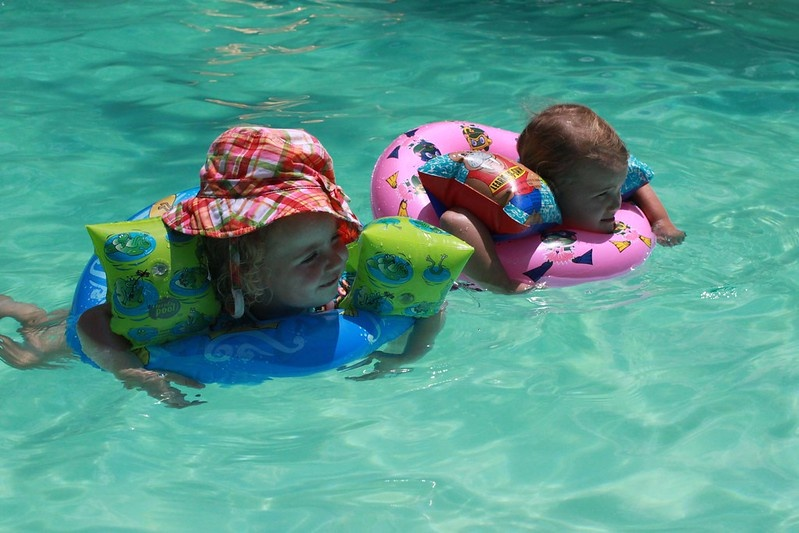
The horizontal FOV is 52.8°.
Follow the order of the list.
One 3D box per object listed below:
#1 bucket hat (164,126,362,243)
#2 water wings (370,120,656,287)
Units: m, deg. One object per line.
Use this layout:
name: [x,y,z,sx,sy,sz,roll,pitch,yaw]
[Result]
bucket hat: [-0.811,-0.446,4.473,1.070,0.602,0.552,-8,39,-10]
water wings: [0.647,-0.400,5.668,1.760,0.331,1.744,-7,27,-44]
